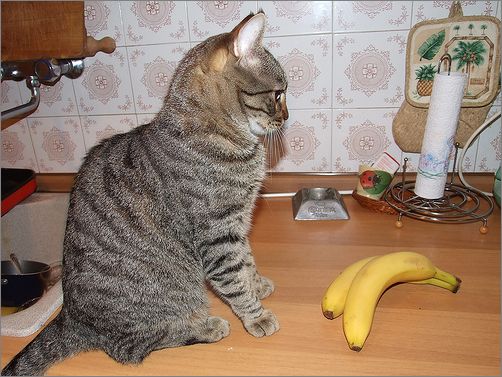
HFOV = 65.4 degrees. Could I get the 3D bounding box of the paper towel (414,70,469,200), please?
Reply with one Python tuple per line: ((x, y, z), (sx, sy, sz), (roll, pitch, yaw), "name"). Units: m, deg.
((0.687, -0.180, 1.427), (0.111, 0.462, 0.053), (9, 21, 26), "paper towel")
